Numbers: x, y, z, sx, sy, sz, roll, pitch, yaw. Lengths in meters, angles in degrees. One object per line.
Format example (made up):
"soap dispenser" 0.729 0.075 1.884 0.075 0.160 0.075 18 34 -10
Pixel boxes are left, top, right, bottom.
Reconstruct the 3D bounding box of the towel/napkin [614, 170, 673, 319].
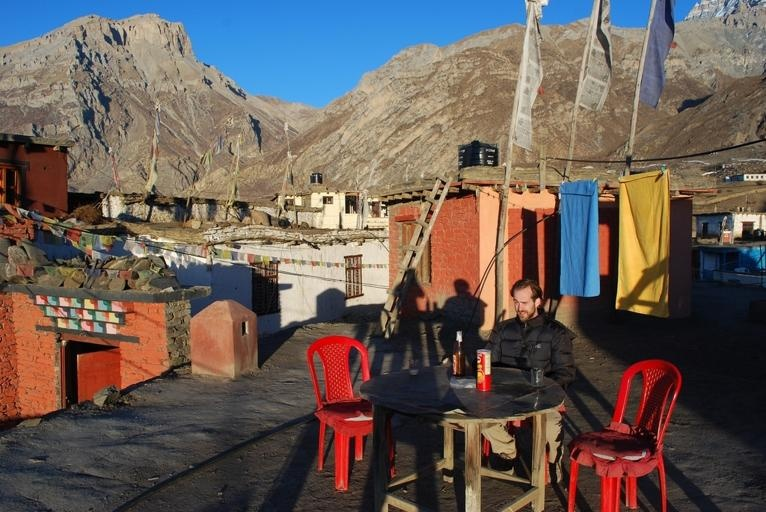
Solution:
"towel/napkin" 5.626 -0.307 17.916 1.197 3.077 0.310 1 0 40

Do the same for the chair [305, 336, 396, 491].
"chair" -0.548 2.745 14.669 1.418 2.349 1.358 11 14 40

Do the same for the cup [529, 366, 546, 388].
"cup" 2.605 2.023 13.961 0.263 0.300 0.270 -1 6 0
